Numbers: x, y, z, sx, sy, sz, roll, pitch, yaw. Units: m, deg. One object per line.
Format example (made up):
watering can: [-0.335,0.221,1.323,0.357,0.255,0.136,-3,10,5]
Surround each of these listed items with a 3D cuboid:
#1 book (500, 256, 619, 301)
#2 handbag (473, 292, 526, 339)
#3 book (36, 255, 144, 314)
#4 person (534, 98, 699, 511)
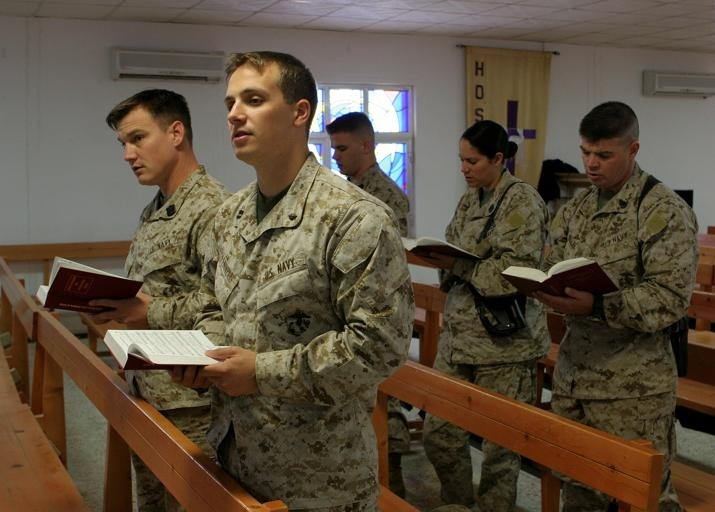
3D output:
book: [0.777,0.080,2.236,0.412,0.183,0.198,3,13,26]
handbag: [0.689,0.282,2.796,0.253,0.211,0.156,-1,12,10]
book: [-0.900,0.116,1.955,0.233,0.087,0.223,13,-43,-31]
person: [1.077,0.274,2.423,0.585,1.811,0.655,3,13,27]
